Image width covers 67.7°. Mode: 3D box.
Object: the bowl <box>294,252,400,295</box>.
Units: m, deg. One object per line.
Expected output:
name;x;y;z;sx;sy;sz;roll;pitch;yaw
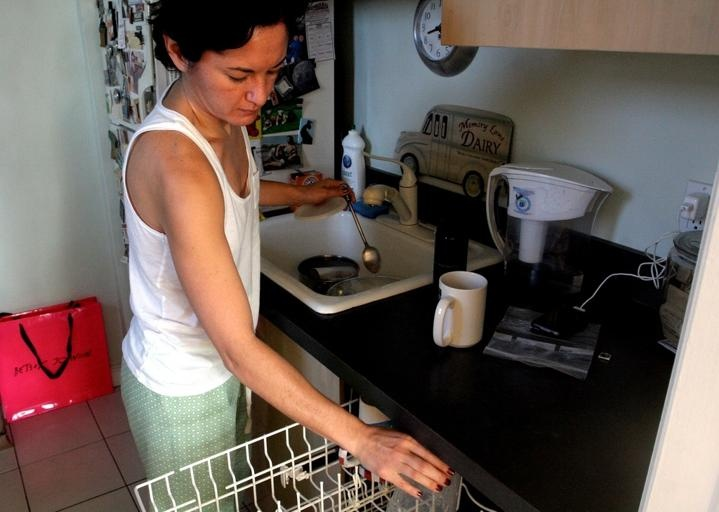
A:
bowl;-0.074;0.071;1.790;0.257;0.053;0.147;12;24;28

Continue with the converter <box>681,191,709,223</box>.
converter;0.870;-0.126;1.396;0.057;0.083;0.051;14;26;30

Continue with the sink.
sink;-0.052;-0.003;1.869;0.410;0.225;0.563;-13;30;-28

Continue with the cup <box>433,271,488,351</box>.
cup;0.243;0.116;1.346;0.117;0.180;0.202;12;27;29

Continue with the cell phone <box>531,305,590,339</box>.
cell phone;0.533;0.160;1.382;0.213;0.027;0.096;-19;29;-38
